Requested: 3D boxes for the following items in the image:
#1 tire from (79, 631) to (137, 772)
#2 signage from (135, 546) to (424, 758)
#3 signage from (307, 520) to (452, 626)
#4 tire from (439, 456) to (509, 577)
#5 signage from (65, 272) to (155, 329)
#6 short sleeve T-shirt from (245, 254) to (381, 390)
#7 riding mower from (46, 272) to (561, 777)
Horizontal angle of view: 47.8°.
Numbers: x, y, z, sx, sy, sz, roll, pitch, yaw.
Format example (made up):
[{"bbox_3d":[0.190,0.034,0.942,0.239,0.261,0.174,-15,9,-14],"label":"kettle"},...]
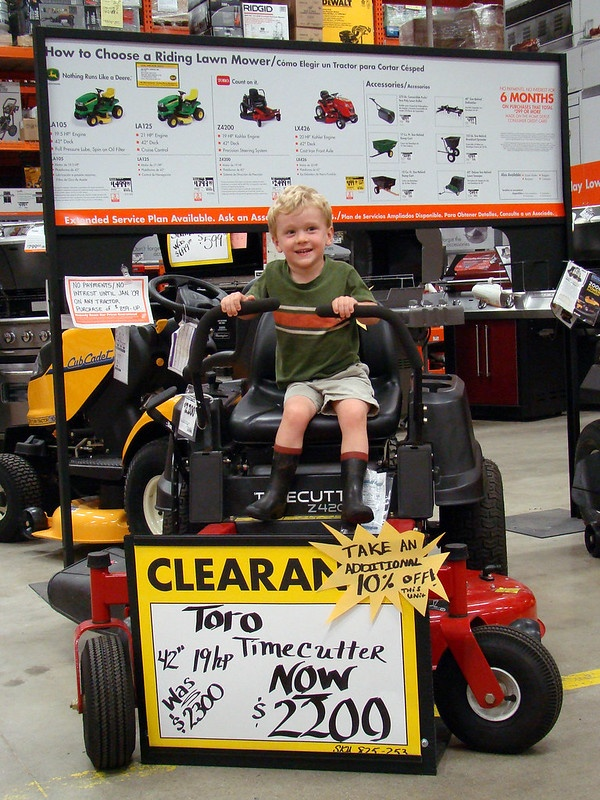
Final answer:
[{"bbox_3d":[-0.425,0.682,1.500,0.105,0.291,0.140,-3,-3,-21],"label":"tire"},{"bbox_3d":[-0.016,0.539,1.428,0.496,0.353,0.008,-1,5,10],"label":"signage"},{"bbox_3d":[0.162,0.369,1.424,0.305,0.217,0.005,-1,-3,2],"label":"signage"},{"bbox_3d":[0.560,0.386,2.196,0.215,0.460,0.474,-3,-5,11],"label":"tire"},{"bbox_3d":[-0.792,-0.417,2.837,0.341,0.220,0.033,-2,25,-1],"label":"signage"},{"bbox_3d":[0.036,-0.219,2.111,0.437,0.437,0.232,1,19,13],"label":"short sleeve T-shirt"},{"bbox_3d":[0.083,0.213,2.116,1.080,0.990,1.489,-1,5,2],"label":"riding mower"}]
